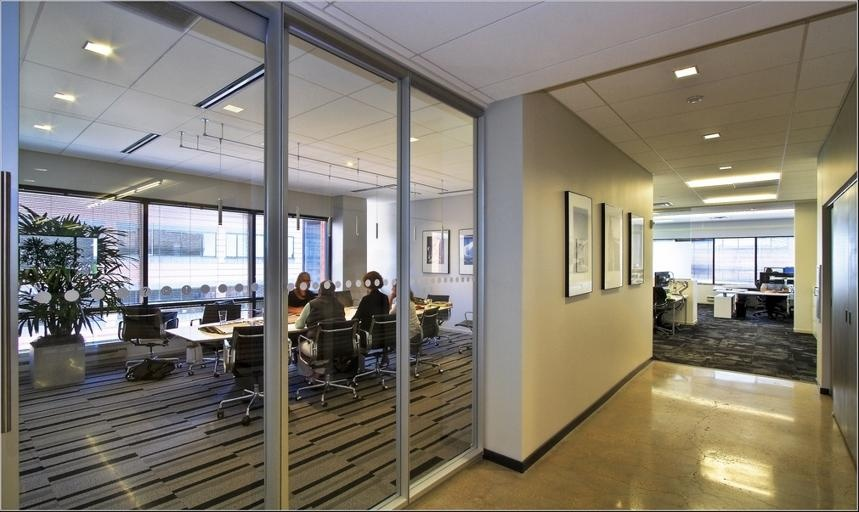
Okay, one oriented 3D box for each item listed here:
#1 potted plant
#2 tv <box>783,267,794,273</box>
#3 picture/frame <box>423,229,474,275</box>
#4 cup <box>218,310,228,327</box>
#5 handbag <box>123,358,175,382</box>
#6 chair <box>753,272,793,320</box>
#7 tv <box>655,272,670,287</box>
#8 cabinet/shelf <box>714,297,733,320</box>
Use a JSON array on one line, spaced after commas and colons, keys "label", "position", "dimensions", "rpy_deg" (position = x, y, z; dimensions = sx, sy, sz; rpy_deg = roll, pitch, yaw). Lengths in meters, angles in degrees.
[{"label": "potted plant", "position": [-2.257, 0.242, 3.193], "dimensions": [0.679, 1.173, 0.232], "rpy_deg": [-1, 12, -9]}, {"label": "tv", "position": [9.688, 0.354, 13.479], "dimensions": [0.126, 0.100, 0.174], "rpy_deg": [-5, 4, -37]}, {"label": "picture/frame", "position": [0.146, -0.052, 4.594], "dimensions": [0.498, 0.268, 0.010], "rpy_deg": [2, -4, -41]}, {"label": "cup", "position": [-1.451, 0.427, 3.508], "dimensions": [0.051, 0.096, 0.058], "rpy_deg": [-4, 13, -19]}, {"label": "handbag", "position": [-1.867, 0.753, 3.359], "dimensions": [0.163, 0.087, 0.233], "rpy_deg": [3, 2, 33]}, {"label": "chair", "position": [8.649, 0.969, 12.523], "dimensions": [0.784, 0.975, 1.102], "rpy_deg": [4, -6, -31]}, {"label": "tv", "position": [4.965, 0.459, 10.664], "dimensions": [0.376, 0.305, 0.159], "rpy_deg": [0, 3, -15]}, {"label": "cabinet/shelf", "position": [6.999, 1.179, 12.073], "dimensions": [0.472, 0.537, 0.879], "rpy_deg": [2, 0, 37]}]
